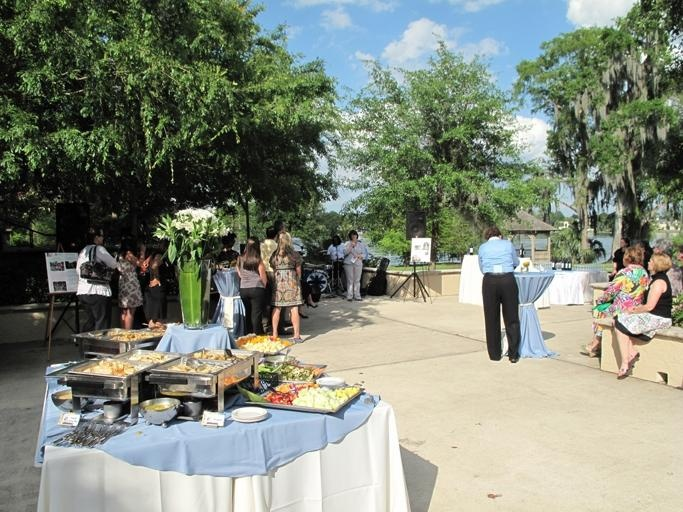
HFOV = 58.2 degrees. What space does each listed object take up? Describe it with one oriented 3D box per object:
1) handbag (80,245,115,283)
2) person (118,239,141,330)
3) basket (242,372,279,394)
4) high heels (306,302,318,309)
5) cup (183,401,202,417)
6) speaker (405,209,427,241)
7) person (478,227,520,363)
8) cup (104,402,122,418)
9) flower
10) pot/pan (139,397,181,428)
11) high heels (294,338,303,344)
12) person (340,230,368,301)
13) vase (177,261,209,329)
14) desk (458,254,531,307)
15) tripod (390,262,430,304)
[{"bbox_3d":[-3.661,0.136,9.206,0.550,0.779,0.263,1,1,-40],"label":"handbag"},{"bbox_3d":[-3.446,0.535,9.972,0.344,1.471,0.575,3,13,-2],"label":"person"},{"bbox_3d":[-0.683,1.128,5.467,0.208,0.077,0.149,0,15,16],"label":"basket"},{"bbox_3d":[-0.718,1.177,14.677,0.108,0.189,0.335,-5,-3,-44],"label":"high heels"},{"bbox_3d":[-1.187,1.219,4.883,0.110,0.092,0.117,2,2,0],"label":"cup"},{"bbox_3d":[2.027,-0.861,16.737,0.733,1.139,0.599,-1,-4,6],"label":"speaker"},{"bbox_3d":[2.382,0.673,9.314,0.730,1.803,0.415,6,13,13],"label":"person"},{"bbox_3d":[-1.819,1.218,4.902,0.109,0.091,0.116,0,-1,0],"label":"cup"},{"bbox_3d":[-1.560,-0.237,6.270,0.530,0.422,0.561,-4,6,29],"label":"flower"},{"bbox_3d":[-1.416,1.210,4.827,0.179,0.109,0.273,-3,7,-22],"label":"pot/pan"},{"bbox_3d":[-0.727,1.446,10.478,0.166,0.080,0.062,-2,3,-14],"label":"high heels"},{"bbox_3d":[0.370,0.221,16.275,0.613,1.985,1.143,4,13,2],"label":"person"},{"bbox_3d":[-1.486,0.364,6.197,0.318,0.649,0.329,0,13,-15],"label":"vase"},{"bbox_3d":[2.743,0.449,11.068,0.685,0.944,1.197,0,0,16],"label":"desk"},{"bbox_3d":[2.034,0.822,16.681,0.831,1.030,1.025,2,-3,-42],"label":"tripod"}]
